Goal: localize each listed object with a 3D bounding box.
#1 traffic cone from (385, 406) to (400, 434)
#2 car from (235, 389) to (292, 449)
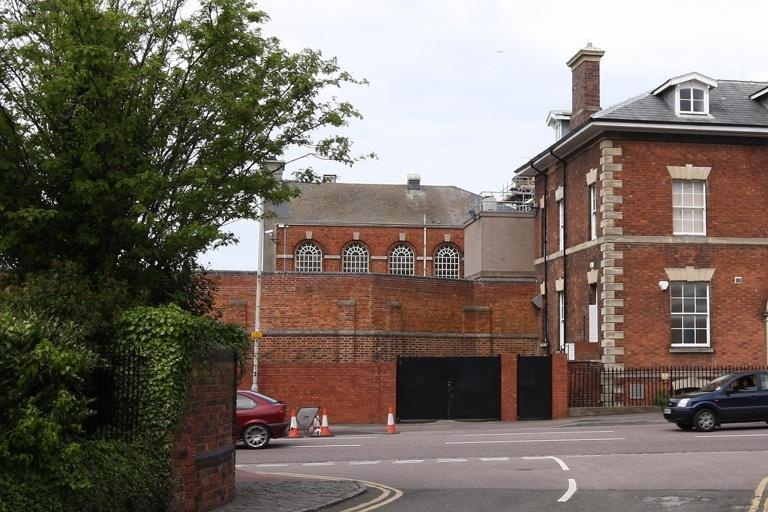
[{"bbox_3d":[0.283,5.586,38.797,0.865,0.975,0.799,0,-12,-4],"label":"traffic cone"},{"bbox_3d":[-3.526,4.661,32.463,1.439,1.621,0.676,2,-10,-13],"label":"car"}]
